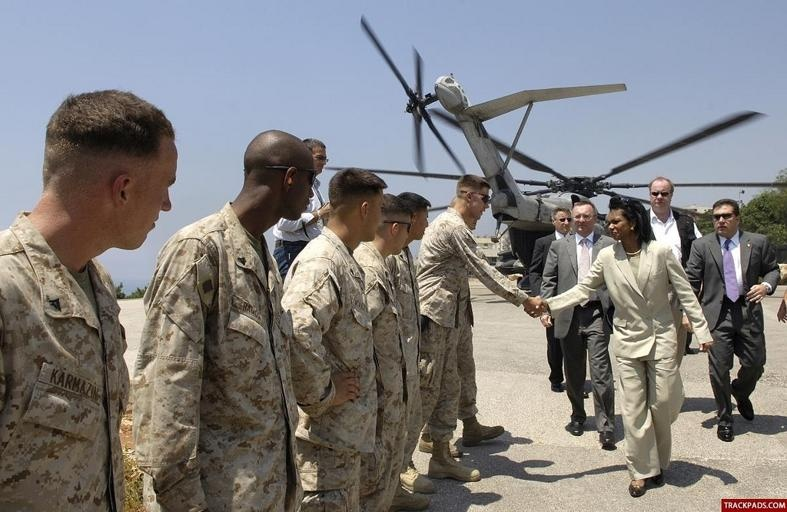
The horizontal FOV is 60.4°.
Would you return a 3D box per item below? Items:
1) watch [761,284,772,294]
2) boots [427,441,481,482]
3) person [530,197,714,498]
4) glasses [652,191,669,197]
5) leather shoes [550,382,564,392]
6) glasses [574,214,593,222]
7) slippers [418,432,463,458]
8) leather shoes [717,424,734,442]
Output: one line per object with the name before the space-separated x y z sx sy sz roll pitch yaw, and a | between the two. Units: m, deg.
watch | 3.883 0.335 7.037 0.107 0.042 0.118 24 -2 -12
boots | 0.513 1.950 6.362 0.630 0.391 0.238 0 -1 0
person | 2.227 0.755 6.362 0.927 2.601 0.940 -6 8 -30
glasses | 3.120 -0.725 7.908 0.088 0.027 0.090 -1 -35 33
leather shoes | 2.182 1.755 8.961 0.102 0.117 0.181 -5 -23 16
glasses | 2.242 -0.448 8.010 0.108 0.030 0.112 -3 -20 31
slippers | 0.522 1.948 6.958 0.543 0.344 0.188 -3 -3 13
leather shoes | 3.483 1.842 7.079 0.168 0.149 0.205 1 7 24
